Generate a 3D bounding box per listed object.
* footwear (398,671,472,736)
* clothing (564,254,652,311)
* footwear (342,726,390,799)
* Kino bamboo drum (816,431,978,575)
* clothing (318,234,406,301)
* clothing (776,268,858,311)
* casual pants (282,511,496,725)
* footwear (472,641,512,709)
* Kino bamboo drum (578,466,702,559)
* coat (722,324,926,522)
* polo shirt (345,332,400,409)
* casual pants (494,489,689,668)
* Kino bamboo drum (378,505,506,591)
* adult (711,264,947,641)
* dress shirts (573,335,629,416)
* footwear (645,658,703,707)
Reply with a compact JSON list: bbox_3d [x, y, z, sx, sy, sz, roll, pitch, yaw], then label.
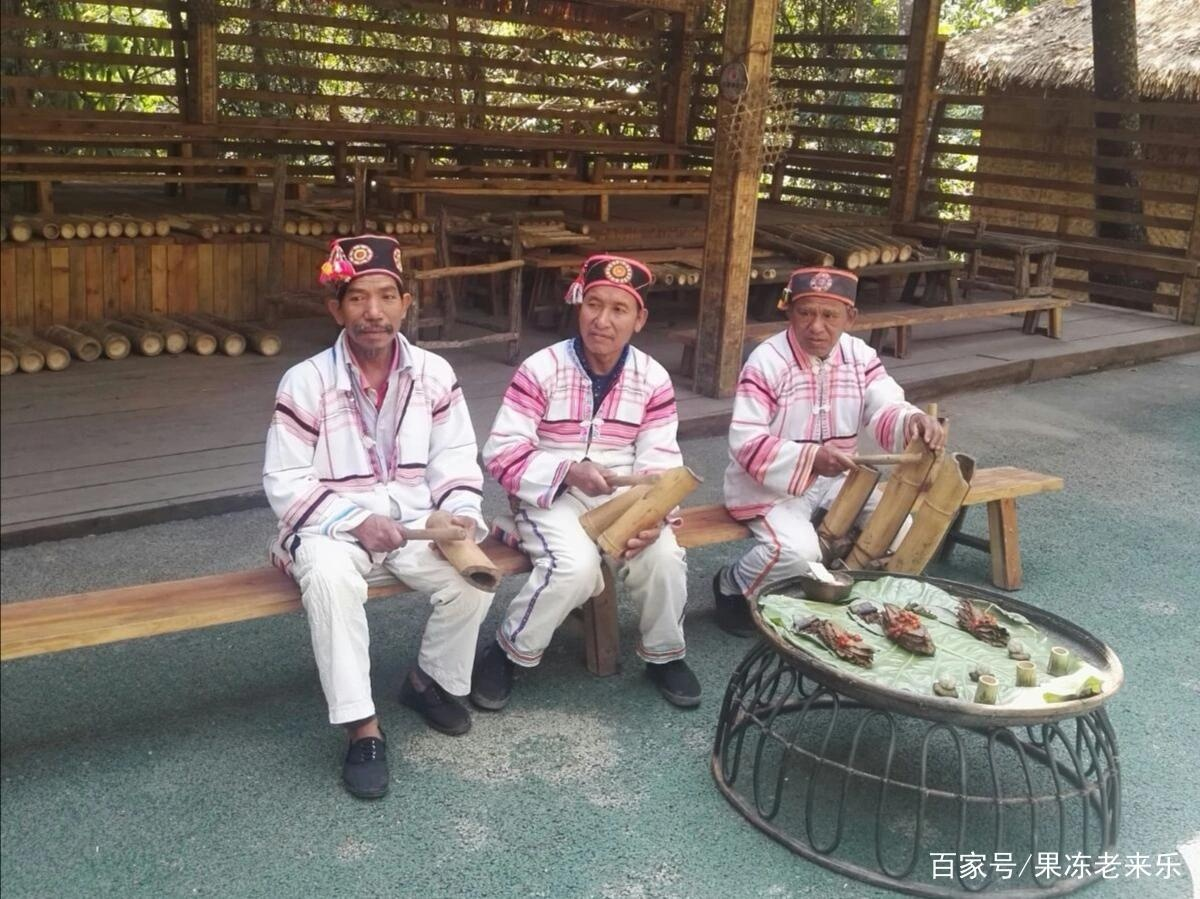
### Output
[{"bbox_3d":[-0.548,0.849,3.025,0.297,0.131,0.132,22,37,37],"label":"footwear"},{"bbox_3d":[0.041,-0.614,3.211,0.287,0.190,0.251,1,16,4],"label":"clothing"},{"bbox_3d":[-0.712,0.946,2.654,0.118,0.070,0.209,-1,19,-14],"label":"footwear"},{"bbox_3d":[1.143,0.224,3.406,0.397,0.624,0.205,33,26,20],"label":"Kino bamboo drum"},{"bbox_3d":[-0.770,-0.595,2.849,0.250,0.194,0.189,-5,17,-15],"label":"clothing"},{"bbox_3d":[0.889,-0.647,3.511,0.272,0.129,0.223,4,5,-25],"label":"clothing"},{"bbox_3d":[-0.708,0.508,2.896,0.577,0.453,0.692,3,31,-30],"label":"casual pants"},{"bbox_3d":[-0.374,0.814,3.111,0.110,0.101,0.263,5,6,-6],"label":"footwear"},{"bbox_3d":[0.137,0.214,3.126,0.249,0.454,0.177,47,14,5],"label":"Kino bamboo drum"},{"bbox_3d":[0.925,-0.084,3.726,0.919,0.820,0.726,-3,26,-16],"label":"coat"},{"bbox_3d":[-0.733,-0.246,2.829,0.192,0.214,0.124,0,6,-9],"label":"polo shirt"},{"bbox_3d":[0.029,0.454,3.362,0.899,0.668,0.626,0,12,-24],"label":"casual pants"},{"bbox_3d":[-0.456,0.335,2.808,0.306,0.220,0.209,2,17,6],"label":"Kino bamboo drum"},{"bbox_3d":[0.959,0.036,3.720,1.022,1.468,0.745,-4,21,-5],"label":"adult"},{"bbox_3d":[0.009,-0.262,3.164,0.233,0.260,0.107,5,1,-6],"label":"dress shirts"},{"bbox_3d":[0.266,0.845,3.205,0.112,0.080,0.233,-11,14,-34],"label":"footwear"}]
